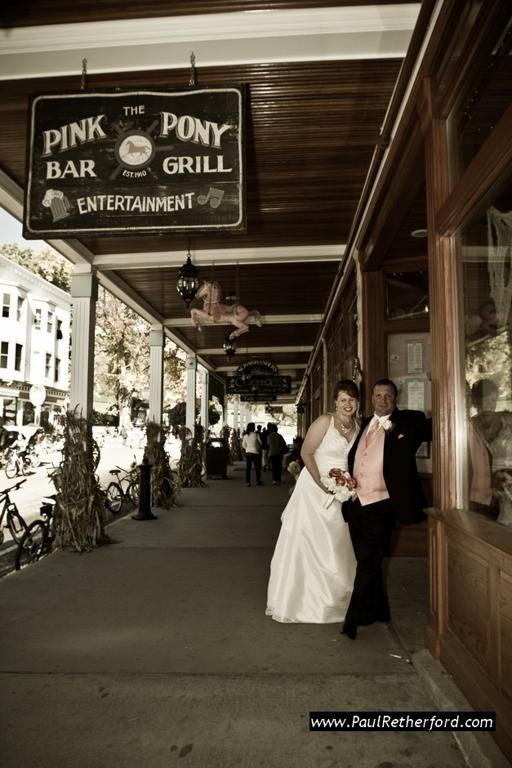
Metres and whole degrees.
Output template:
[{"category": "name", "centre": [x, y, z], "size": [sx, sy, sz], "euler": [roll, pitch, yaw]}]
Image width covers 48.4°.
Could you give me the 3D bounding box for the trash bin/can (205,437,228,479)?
[{"category": "trash bin/can", "centre": [-1.218, 2.295, 17.528], "size": [0.783, 1.614, 0.845], "euler": [0, 0, -16]}]

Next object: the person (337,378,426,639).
[{"category": "person", "centre": [0.796, 0.770, 3.567], "size": [0.644, 1.595, 0.512], "euler": [-5, -7, 34]}]

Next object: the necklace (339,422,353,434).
[{"category": "necklace", "centre": [0.613, 0.291, 3.822], "size": [0.071, 0.082, 0.018], "euler": [-14, 8, -27]}]

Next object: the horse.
[{"category": "horse", "centre": [-0.425, -1.075, 8.547], "size": [0.996, 0.972, 0.422], "euler": [0, -4, -1]}]

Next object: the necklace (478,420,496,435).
[{"category": "necklace", "centre": [1.070, 0.195, 2.643], "size": [0.040, 0.020, 0.058], "euler": [-43, 19, 32]}]
